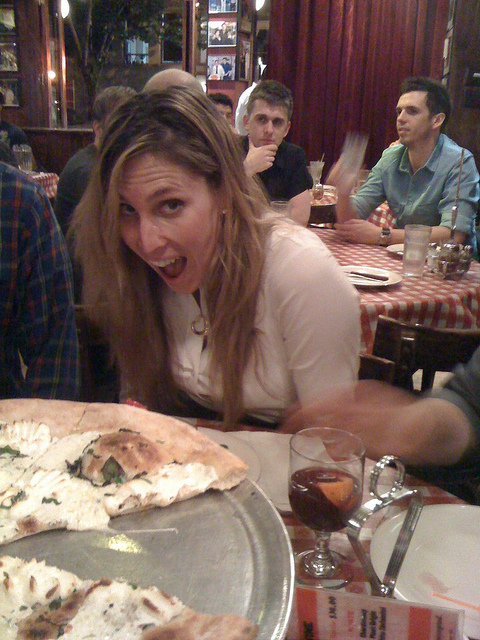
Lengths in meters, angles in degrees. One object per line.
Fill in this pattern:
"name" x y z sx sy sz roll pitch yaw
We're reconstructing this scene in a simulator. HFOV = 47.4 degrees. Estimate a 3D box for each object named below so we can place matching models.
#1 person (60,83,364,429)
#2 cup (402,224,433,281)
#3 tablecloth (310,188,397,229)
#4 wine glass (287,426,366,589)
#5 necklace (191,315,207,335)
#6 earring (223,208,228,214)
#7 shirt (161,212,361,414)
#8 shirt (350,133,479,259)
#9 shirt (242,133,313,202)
"person" -0.068 -0.105 1.180 0.653 0.731 0.410 4 12 3
"cup" 0.658 -0.238 2.048 0.099 0.190 0.102 7 -13 2
"tablecloth" 0.732 -0.656 3.354 0.405 0.113 0.432 14 29 29
"wine glass" 0.092 0.208 0.634 0.077 0.162 0.089 -2 3 -5
"necklace" -0.093 0.012 1.228 0.013 0.040 0.038 -26 -9 13
"earring" -0.031 -0.218 1.093 0.008 0.002 0.009 0 -18 10
"shirt" 0.031 -0.007 1.142 0.352 0.320 0.214 0 18 38
"shirt" 0.846 -0.580 2.612 0.382 0.601 0.634 -5 18 -34
"shirt" 0.270 -0.875 3.206 0.348 0.338 0.180 -6 14 -37
